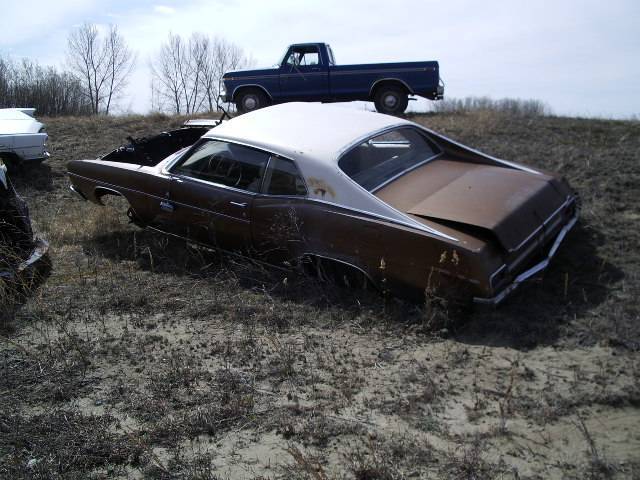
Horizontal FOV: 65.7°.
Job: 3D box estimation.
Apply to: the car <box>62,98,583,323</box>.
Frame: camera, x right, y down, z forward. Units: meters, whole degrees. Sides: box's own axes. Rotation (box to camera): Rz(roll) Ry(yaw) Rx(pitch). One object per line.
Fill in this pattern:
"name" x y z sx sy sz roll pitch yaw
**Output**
"car" -0.235 -0.656 5.539 4.964 1.283 2.378 17 35 24
